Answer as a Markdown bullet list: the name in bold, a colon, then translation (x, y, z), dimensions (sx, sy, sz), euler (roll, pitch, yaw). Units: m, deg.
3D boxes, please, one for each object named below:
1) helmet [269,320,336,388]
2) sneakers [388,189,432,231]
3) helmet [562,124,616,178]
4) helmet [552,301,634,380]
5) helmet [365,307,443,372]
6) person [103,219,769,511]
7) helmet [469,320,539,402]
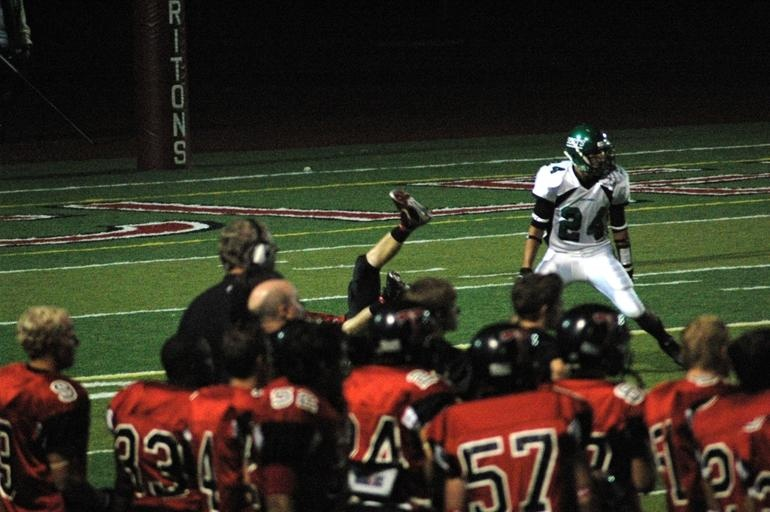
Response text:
- **helmet**: translation (-0.369, 0.447, 3.446), dimensions (0.317, 0.303, 0.187), euler (-2, -6, -8)
- **sneakers**: translation (0.139, -0.408, 6.342), dimensions (0.295, 0.460, 0.142), euler (-28, -31, -38)
- **helmet**: translation (2.025, -1.042, 7.125), dimensions (0.468, 0.405, 0.567), euler (-20, 28, -34)
- **helmet**: translation (1.072, 0.423, 3.771), dimensions (0.414, 0.378, 0.269), euler (-2, -6, -9)
- **helmet**: translation (0.103, 0.420, 3.789), dimensions (0.440, 0.381, 0.477), euler (0, -9, 15)
- **person**: translation (-0.643, 0.497, 4.300), dimensions (2.433, 0.957, 1.460), euler (-8, 9, -9)
- **helmet**: translation (0.520, 0.463, 3.313), dimensions (0.294, 0.327, 0.206), euler (-4, -6, 8)
